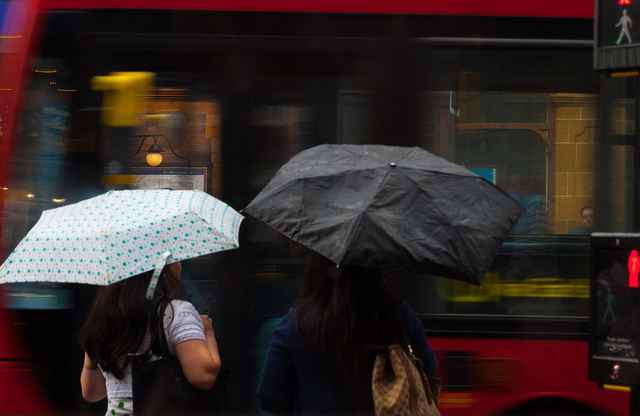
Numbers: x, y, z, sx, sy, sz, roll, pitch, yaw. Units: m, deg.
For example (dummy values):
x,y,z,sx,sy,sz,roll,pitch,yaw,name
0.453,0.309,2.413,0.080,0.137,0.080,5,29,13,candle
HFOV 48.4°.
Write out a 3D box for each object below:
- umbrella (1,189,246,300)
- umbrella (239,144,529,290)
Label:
x,y,z,sx,sy,sz,roll,pitch,yaw,name
-1.256,0.219,4.506,1.439,0.659,0.486,1,1,-7,umbrella
0.411,0.019,4.190,1.560,0.791,0.599,1,1,-6,umbrella
